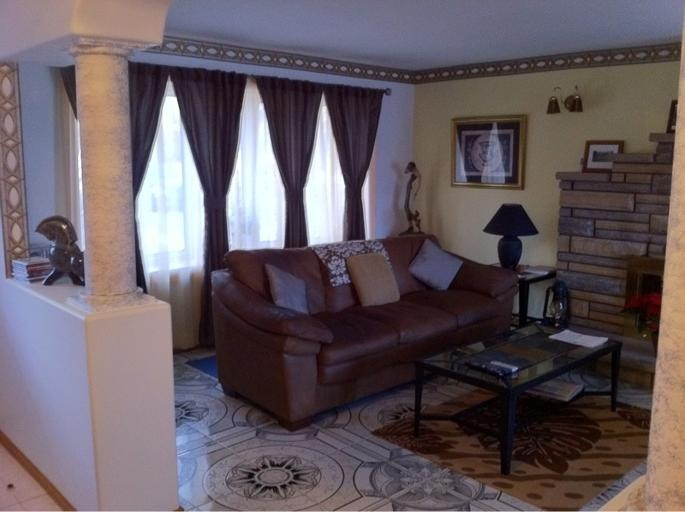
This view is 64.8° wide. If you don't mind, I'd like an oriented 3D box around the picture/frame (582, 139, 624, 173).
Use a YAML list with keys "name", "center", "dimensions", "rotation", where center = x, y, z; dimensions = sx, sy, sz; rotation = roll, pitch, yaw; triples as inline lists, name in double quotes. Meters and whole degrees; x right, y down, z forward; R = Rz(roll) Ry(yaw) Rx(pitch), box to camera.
- name: "picture/frame"
  center: [2.617, -0.995, 5.379]
  dimensions: [0.026, 0.305, 0.328]
  rotation: [6, 12, -43]

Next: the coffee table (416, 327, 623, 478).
- name: "coffee table"
  center: [1.123, 0.642, 3.746]
  dimensions: [1.442, 0.538, 0.761]
  rotation: [-12, 15, -42]

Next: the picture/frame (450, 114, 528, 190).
- name: "picture/frame"
  center: [1.726, -1.208, 6.208]
  dimensions: [0.895, 0.761, 0.067]
  rotation: [10, 15, 42]

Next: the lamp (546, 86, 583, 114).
- name: "lamp"
  center: [2.297, -1.607, 5.566]
  dimensions: [0.351, 0.283, 0.407]
  rotation: [5, 14, 19]

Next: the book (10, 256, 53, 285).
- name: "book"
  center: [-1.906, 0.063, 3.324]
  dimensions: [0.187, 0.081, 0.189]
  rotation: [10, 14, 30]

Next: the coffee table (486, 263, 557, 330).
- name: "coffee table"
  center: [1.842, 0.371, 5.799]
  dimensions: [0.648, 0.629, 0.625]
  rotation: [-8, 11, -42]

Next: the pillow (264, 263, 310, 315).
- name: "pillow"
  center: [-0.439, 0.256, 4.301]
  dimensions: [0.328, 0.365, 0.452]
  rotation: [-4, 14, -15]

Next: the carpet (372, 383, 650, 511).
- name: "carpet"
  center: [1.343, 1.244, 3.715]
  dimensions: [1.898, 0.082, 1.298]
  rotation: [-5, 14, -23]

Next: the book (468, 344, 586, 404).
- name: "book"
  center: [1.495, 0.876, 3.942]
  dimensions: [0.456, 0.111, 0.499]
  rotation: [9, 14, 40]

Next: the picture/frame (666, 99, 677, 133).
- name: "picture/frame"
  center: [3.009, -1.279, 4.925]
  dimensions: [0.059, 0.302, 0.289]
  rotation: [7, 15, 26]
